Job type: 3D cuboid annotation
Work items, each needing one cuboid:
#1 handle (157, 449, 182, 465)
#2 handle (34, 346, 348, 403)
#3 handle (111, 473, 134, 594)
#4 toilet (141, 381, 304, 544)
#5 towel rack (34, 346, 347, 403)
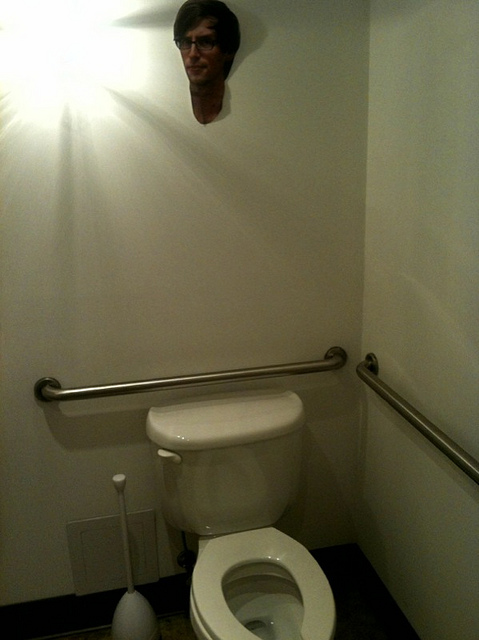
[{"bbox_3d":[-0.183,0.359,1.501,0.056,0.053,0.032,6,63,18],"label":"handle"},{"bbox_3d":[-0.127,0.170,1.726,0.954,0.048,0.122,-6,13,-7],"label":"handle"},{"bbox_3d":[-0.325,0.607,1.632,0.042,0.398,0.145,-8,21,-13],"label":"handle"},{"bbox_3d":[-0.020,0.422,1.666,0.473,0.314,0.242,-4,13,-18],"label":"toilet"},{"bbox_3d":[-0.099,0.170,1.761,1.002,0.053,0.132,-4,12,-22],"label":"towel rack"}]
